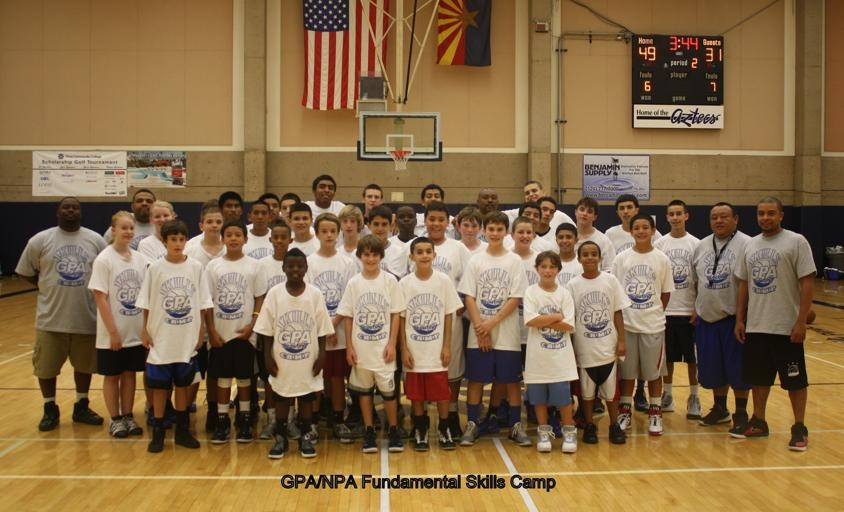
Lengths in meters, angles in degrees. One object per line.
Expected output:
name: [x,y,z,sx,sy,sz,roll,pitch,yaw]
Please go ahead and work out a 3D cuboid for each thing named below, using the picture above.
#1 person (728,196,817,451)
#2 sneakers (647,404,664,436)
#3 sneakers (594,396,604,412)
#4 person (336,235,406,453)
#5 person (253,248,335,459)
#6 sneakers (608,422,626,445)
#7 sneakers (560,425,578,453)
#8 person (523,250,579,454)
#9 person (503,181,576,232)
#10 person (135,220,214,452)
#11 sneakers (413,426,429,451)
person: [5.344,1.027,12.386,1.109,3.740,0.556,1,7,22]
sneakers: [3.637,2.533,12.656,0.209,0.447,0.242,1,7,17]
sneakers: [2.908,2.469,13.496,0.148,0.188,0.441,-1,-5,8]
person: [-0.746,1.325,12.273,0.932,3.212,0.489,-2,6,-4]
person: [-1.892,1.455,12.130,1.048,3.059,0.416,-2,6,-11]
sneakers: [2.988,2.725,12.452,0.166,0.164,0.367,-1,-2,1]
sneakers: [2.226,2.752,12.276,0.235,0.388,0.182,-1,6,-2]
person: [1.957,1.446,12.335,0.801,2.974,0.512,0,6,10]
person: [2.390,-1.010,16.425,1.434,0.978,0.509,-2,-5,7]
person: [-3.702,1.205,12.236,1.020,3.405,0.475,-3,7,-19]
sneakers: [-0.006,2.760,12.353,0.221,0.319,0.244,-1,7,3]
